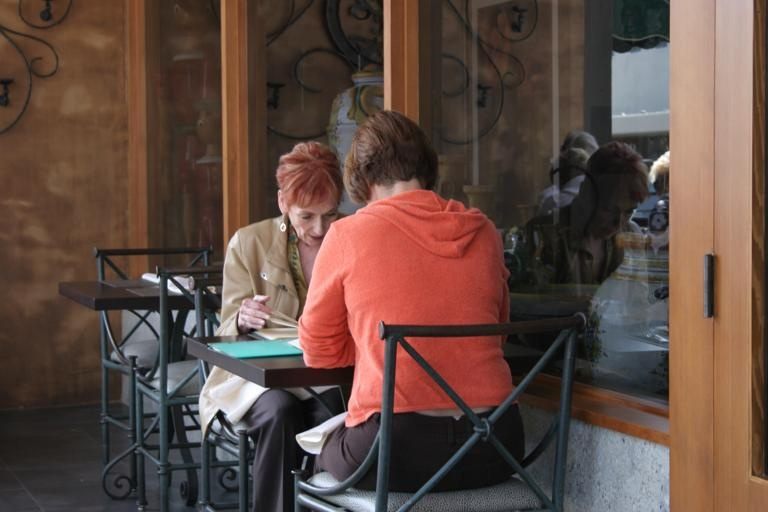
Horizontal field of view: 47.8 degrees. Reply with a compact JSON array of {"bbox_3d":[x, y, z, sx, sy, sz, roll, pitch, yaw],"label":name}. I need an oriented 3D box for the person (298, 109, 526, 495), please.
[{"bbox_3d":[0.091,0.120,2.741,0.653,1.172,0.472,-4,5,-26],"label":"person"}]
